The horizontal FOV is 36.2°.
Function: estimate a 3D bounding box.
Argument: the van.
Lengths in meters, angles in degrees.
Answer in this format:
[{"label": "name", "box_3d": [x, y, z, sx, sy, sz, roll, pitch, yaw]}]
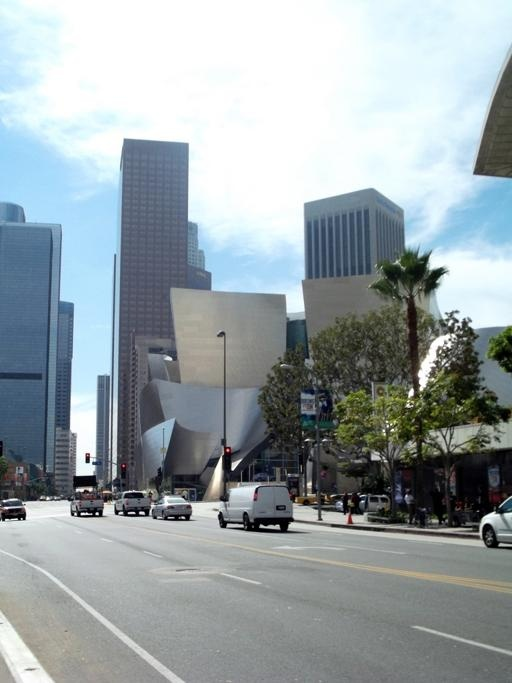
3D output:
[{"label": "van", "box_3d": [-0.011, 6.389, 30.040, 1.526, 1.471, 3.361, 5, -14, -22]}]

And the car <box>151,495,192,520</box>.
[{"label": "car", "box_3d": [-4.424, 8.652, 40.474, 1.007, 0.938, 2.390, 3, -10, -19]}]
